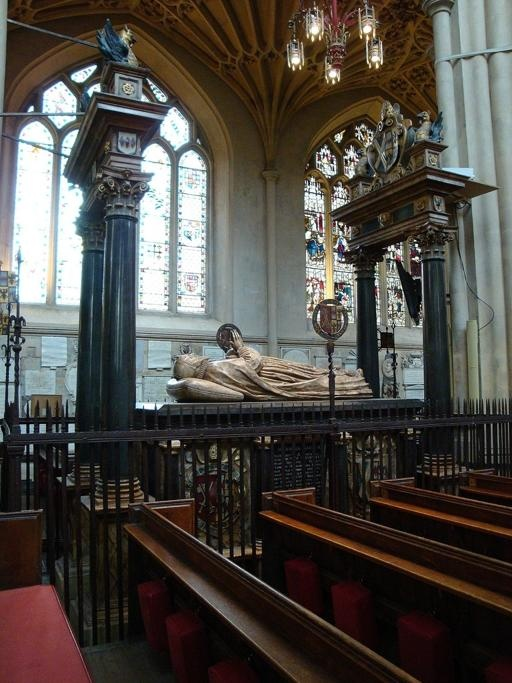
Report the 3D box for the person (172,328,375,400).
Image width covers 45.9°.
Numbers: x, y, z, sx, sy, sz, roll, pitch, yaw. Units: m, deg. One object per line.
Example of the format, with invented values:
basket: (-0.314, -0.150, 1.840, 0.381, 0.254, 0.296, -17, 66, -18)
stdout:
person: (0.102, 0.377, 6.297, 1.804, 0.747, 0.830, 2, -9, -23)
